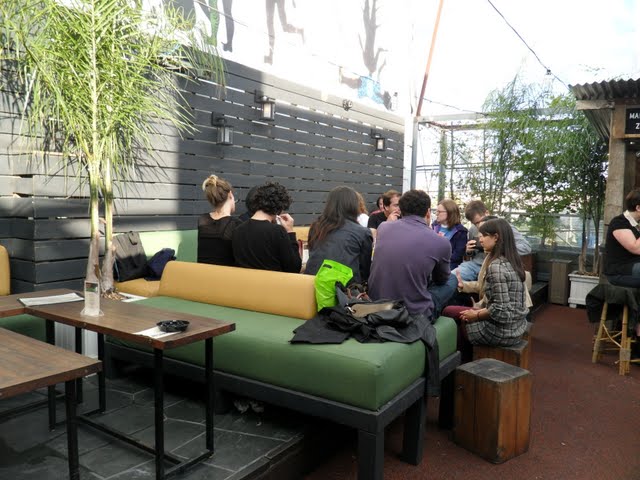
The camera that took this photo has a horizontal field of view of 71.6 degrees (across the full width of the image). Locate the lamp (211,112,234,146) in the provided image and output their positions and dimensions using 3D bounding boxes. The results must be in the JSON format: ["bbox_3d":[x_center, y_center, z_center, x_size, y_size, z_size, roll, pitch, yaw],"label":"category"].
[{"bbox_3d":[-1.335,-1.553,6.182,0.248,0.440,0.220,-1,8,-43],"label":"lamp"}]

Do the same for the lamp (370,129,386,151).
[{"bbox_3d":[1.233,-2.141,9.457,0.244,0.474,0.427,3,6,25],"label":"lamp"}]

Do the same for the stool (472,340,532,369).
[{"bbox_3d":[1.536,0.919,3.685,0.289,0.225,0.294,1,2,41],"label":"stool"}]

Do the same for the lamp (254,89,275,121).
[{"bbox_3d":[-0.851,-2.030,6.728,0.323,0.472,0.309,-5,14,-23],"label":"lamp"}]

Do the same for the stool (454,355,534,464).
[{"bbox_3d":[1.173,1.224,3.311,0.549,0.727,0.603,-1,3,-44],"label":"stool"}]

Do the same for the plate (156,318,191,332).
[{"bbox_3d":[-0.847,0.500,2.561,0.172,0.040,0.160,-1,5,-20],"label":"plate"}]
